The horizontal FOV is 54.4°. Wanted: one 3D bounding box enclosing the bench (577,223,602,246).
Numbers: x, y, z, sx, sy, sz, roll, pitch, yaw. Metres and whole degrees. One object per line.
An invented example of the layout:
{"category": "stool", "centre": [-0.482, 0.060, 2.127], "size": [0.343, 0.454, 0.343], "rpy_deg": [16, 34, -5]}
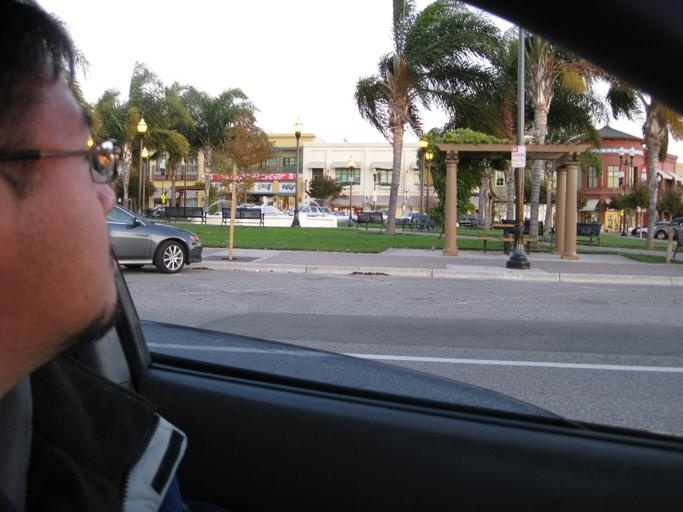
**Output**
{"category": "bench", "centre": [10.062, -0.915, 27.146], "size": [0.915, 0.830, 0.748], "rpy_deg": [2, 7, 26]}
